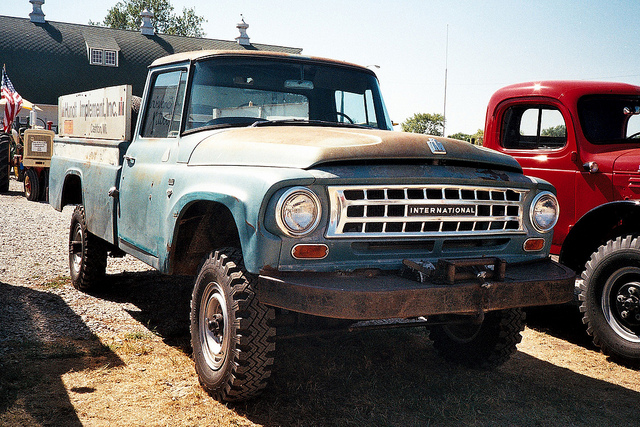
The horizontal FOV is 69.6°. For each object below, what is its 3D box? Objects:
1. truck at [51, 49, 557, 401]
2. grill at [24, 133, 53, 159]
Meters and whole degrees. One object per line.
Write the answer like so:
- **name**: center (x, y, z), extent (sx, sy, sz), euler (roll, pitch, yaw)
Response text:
- **truck**: center (-1.045, -0.205, 5.603), extent (2.898, 2.545, 5.806), euler (0, 5, -32)
- **grill**: center (-9.111, -2.177, 14.851), extent (0.777, 0.799, 0.766), euler (-3, 10, -29)
